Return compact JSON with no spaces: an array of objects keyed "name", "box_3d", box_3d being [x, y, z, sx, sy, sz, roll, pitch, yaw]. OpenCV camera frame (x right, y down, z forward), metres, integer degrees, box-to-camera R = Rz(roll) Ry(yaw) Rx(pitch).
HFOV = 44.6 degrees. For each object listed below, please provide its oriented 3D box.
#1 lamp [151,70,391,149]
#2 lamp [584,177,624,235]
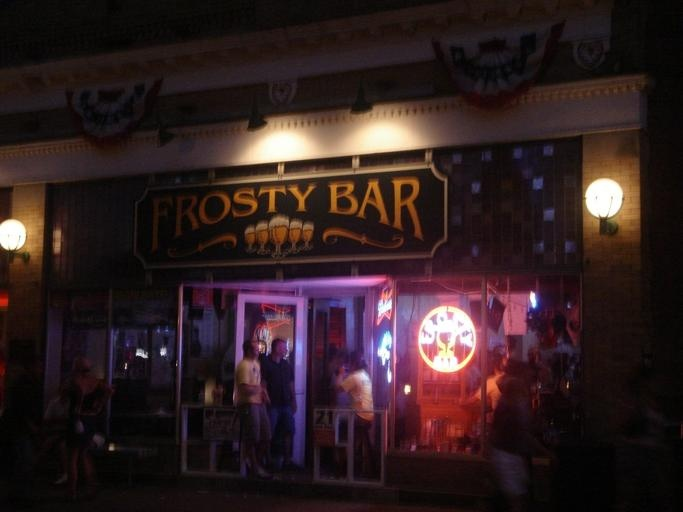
[{"name":"lamp","box_3d":[-1.087,-2.620,14.763,3.649,0.632,0.687,-12,-45,12]},{"name":"lamp","box_3d":[4.097,-0.769,12.994,0.579,0.851,0.245,-1,-9,18]}]
